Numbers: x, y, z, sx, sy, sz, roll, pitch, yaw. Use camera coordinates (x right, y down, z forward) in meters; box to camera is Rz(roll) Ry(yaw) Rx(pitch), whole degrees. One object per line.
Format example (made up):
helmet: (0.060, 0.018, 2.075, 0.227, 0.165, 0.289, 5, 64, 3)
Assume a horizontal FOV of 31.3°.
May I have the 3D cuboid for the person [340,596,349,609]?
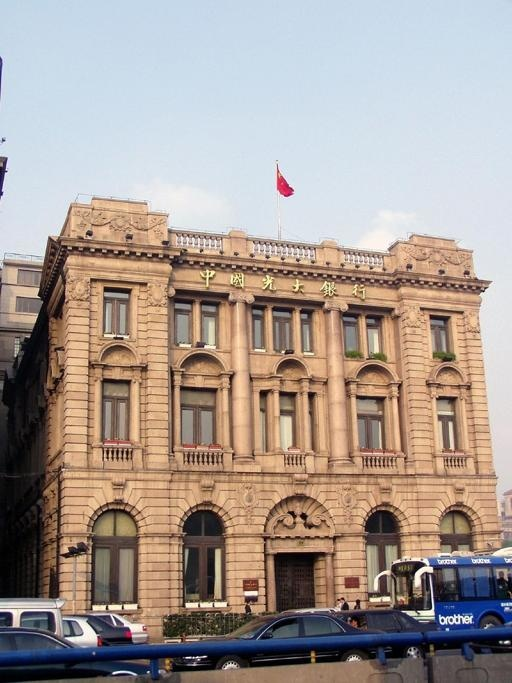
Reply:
person: (3.889, 11.773, 41.041, 0.292, 0.805, 0.319, 0, -40, 12)
